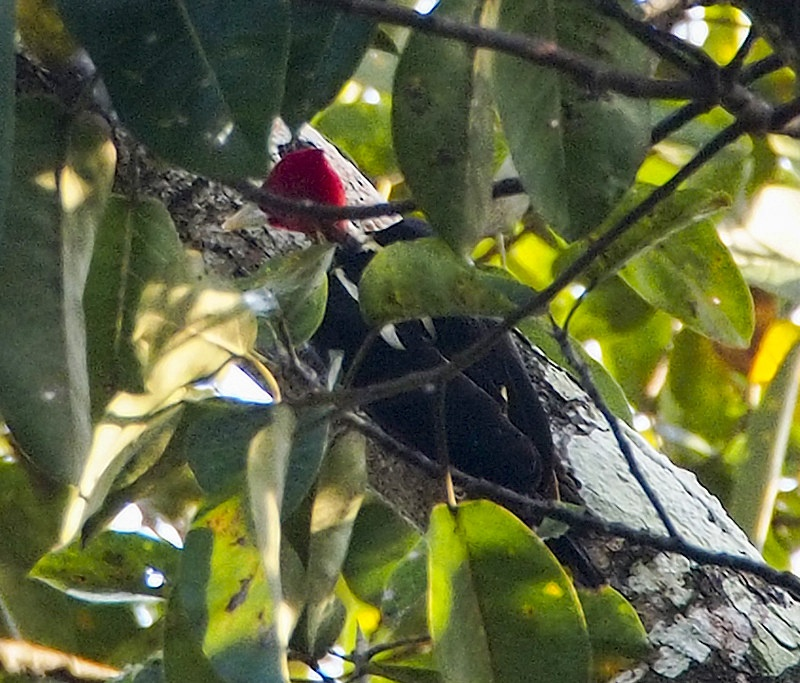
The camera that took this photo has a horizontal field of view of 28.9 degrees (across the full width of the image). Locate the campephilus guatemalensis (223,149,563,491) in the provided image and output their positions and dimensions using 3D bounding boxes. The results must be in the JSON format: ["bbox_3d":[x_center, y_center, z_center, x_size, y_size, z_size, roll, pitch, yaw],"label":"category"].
[{"bbox_3d":[-0.008,-0.007,1.034,0.262,0.104,0.086,41,-91,-2],"label":"campephilus guatemalensis"}]
